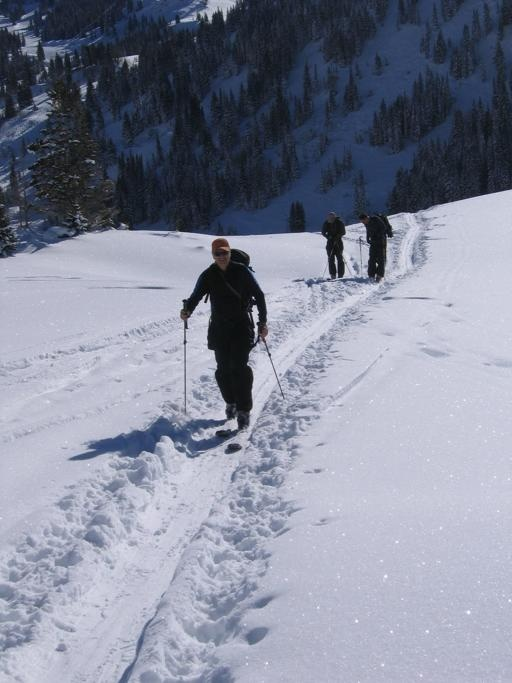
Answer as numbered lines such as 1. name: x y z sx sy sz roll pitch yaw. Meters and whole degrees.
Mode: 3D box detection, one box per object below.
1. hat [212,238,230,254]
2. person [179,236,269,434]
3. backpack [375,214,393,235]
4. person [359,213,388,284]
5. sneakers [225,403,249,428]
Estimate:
1. hat: -0.374 -1.010 8.896 0.135 0.111 0.201 -2 -5 -1
2. person: -0.305 -0.078 9.082 0.833 2.020 0.576 -5 12 1
3. backpack: 2.885 -2.640 19.346 0.313 0.519 1.002 -3 12 9
4. person: 2.712 -2.167 19.557 0.553 1.608 1.203 -3 12 8
5. sneakers: -0.203 0.829 9.181 0.180 0.268 0.268 -21 -23 -8
